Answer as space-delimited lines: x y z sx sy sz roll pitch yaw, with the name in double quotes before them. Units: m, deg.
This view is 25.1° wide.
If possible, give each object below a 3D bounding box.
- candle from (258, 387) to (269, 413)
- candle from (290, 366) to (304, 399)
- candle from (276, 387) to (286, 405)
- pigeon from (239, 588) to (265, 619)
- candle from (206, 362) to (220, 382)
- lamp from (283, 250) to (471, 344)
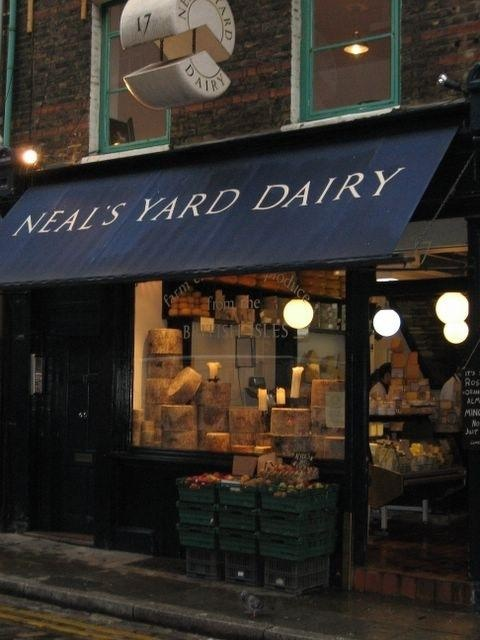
"candle" 0.210 0.762 10.159 0.030 0.220 0.136 -2 2 -42
"candle" 0.518 0.578 9.934 0.153 0.299 0.025 0 2 44
"candle" 0.372 0.719 10.044 0.119 0.171 0.017 0 2 42
"pigeon" 0.107 2.181 8.194 0.100 0.152 0.250 1 0 -24
"candle" -0.267 0.511 10.580 0.156 0.190 0.164 3 -6 -18
"lamp" 1.307 -0.159 9.607 1.930 0.632 0.931 0 2 40
